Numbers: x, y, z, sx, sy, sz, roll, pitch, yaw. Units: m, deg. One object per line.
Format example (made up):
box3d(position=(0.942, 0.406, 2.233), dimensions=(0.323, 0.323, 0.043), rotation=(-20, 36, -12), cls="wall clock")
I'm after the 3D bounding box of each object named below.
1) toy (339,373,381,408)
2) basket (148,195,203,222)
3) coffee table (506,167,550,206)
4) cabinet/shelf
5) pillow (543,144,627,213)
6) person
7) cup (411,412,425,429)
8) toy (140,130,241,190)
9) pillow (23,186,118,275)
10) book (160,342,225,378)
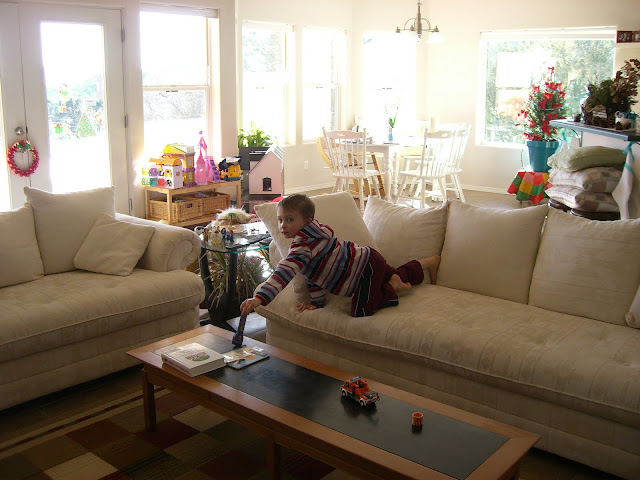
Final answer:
box3d(position=(0.167, 0.608, 1.954), dimensions=(0.083, 0.070, 0.128), rotation=(-10, 19, -40), cls="toy")
box3d(position=(-1.610, -0.328, 5.206), dimensions=(0.349, 0.144, 0.349), rotation=(9, 13, 37), cls="basket")
box3d(position=(2.988, -0.714, 6.894), dimensions=(0.548, 0.332, 0.621), rotation=(-3, 16, -15), cls="coffee table")
box3d(position=(-1.107, -0.125, 4.063), dimensions=(0.335, 0.773, 0.846), rotation=(7, 14, 33), cls="cabinet/shelf")
box3d(position=(2.353, -0.562, 4.348), dimensions=(0.597, 0.521, 0.740), rotation=(1, 15, 2), cls="pillow")
box3d(position=(0.144, 0.103, 2.789), dimensions=(1.184, 0.616, 0.421), rotation=(4, 3, -10), cls="person")
box3d(position=(0.356, 0.656, 1.780), dimensions=(0.047, 0.044, 0.047), rotation=(-5, 11, 1), cls="cup")
box3d(position=(-1.428, -0.896, 5.317), dimensions=(0.357, 0.572, 0.991), rotation=(14, 20, 43), cls="toy")
box3d(position=(-1.626, -0.040, 3.129), dimensions=(0.192, 0.492, 0.531), rotation=(-15, -5, 42), cls="pillow")
box3d(position=(-0.578, 0.535, 2.207), dimensions=(0.182, 0.038, 0.130), rotation=(13, 14, 39), cls="book")
